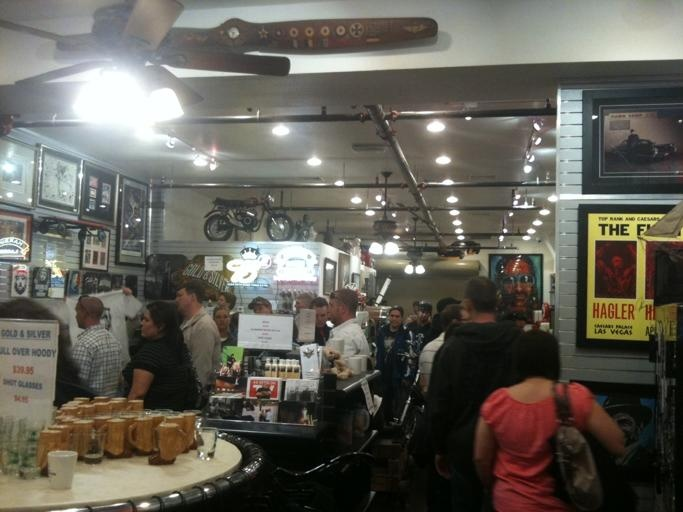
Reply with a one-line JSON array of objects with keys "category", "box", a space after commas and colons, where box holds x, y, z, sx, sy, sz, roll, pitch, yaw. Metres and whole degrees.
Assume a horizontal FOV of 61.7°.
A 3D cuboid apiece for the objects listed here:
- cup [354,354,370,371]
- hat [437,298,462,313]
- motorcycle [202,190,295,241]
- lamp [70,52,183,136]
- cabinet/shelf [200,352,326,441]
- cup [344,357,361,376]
[{"category": "cup", "box": [0.180, 0.957, 5.108, 0.109, 0.118, 0.175, -1, -2, 3]}, {"category": "hat", "box": [1.239, 0.547, 6.753, 0.284, 0.118, 0.313, -1, -20, 0]}, {"category": "motorcycle", "box": [-1.940, -0.793, 11.860, 1.946, 1.092, 0.875, 0, 6, 0]}, {"category": "lamp", "box": [-1.325, -0.985, 3.630, 0.647, 0.305, 0.876, 2, -3, -25]}, {"category": "cabinet/shelf", "box": [-0.539, 1.039, 4.105, 0.765, 0.403, 0.504, 2, -9, 6]}, {"category": "cup", "box": [0.112, 0.946, 4.934, 0.119, 0.109, 0.148, 1, -8, -3]}]
